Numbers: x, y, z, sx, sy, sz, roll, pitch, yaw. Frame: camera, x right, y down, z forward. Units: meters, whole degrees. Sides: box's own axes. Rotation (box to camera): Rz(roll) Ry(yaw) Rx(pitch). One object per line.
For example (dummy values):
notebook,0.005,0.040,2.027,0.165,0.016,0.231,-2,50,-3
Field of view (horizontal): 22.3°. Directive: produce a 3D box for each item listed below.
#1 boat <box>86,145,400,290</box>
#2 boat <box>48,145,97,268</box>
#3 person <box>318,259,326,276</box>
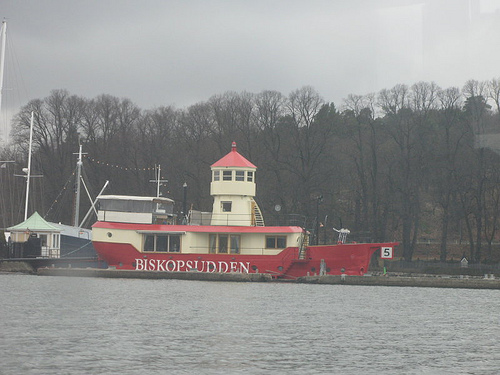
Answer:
boat,-1.395,2.344,110.282,24.836,11.547,7.830,0,-9,3
boat,-15.687,1.540,115.430,3.062,11.493,9.754,2,-5,-9
person,5.995,6.657,106.581,0.572,1.381,0.867,1,-5,3
